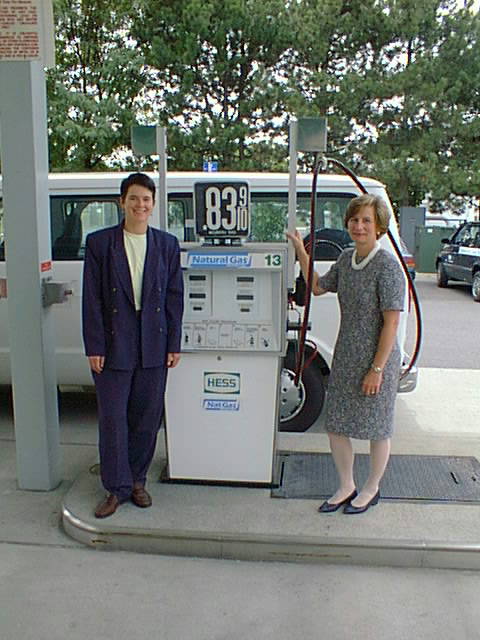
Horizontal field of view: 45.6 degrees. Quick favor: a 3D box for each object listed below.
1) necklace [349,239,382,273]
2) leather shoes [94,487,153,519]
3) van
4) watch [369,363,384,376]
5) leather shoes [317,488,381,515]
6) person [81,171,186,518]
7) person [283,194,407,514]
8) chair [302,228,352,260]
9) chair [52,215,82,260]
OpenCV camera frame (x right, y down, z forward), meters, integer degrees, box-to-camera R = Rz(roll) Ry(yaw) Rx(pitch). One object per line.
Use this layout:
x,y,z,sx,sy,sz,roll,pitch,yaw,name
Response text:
0.593,-0.308,2.785,0.090,0.126,0.193,-4,8,-31,necklace
-0.578,0.930,2.949,0.309,0.130,0.108,-4,43,-51,leather shoes
-0.291,-0.250,4.904,3.253,1.759,1.698,0,3,4,van
0.637,0.233,2.682,0.046,0.030,0.052,6,-16,17,watch
0.549,0.942,2.913,0.224,0.084,0.126,5,-6,-37,leather shoes
-0.532,0.126,2.886,0.495,1.678,0.244,-1,7,-12,person
0.602,0.187,2.828,0.379,1.570,0.294,2,7,16,person
0.655,-0.560,4.266,0.336,0.248,0.122,2,9,24,chair
-1.313,-0.628,4.416,0.255,0.382,0.252,1,-1,-27,chair
